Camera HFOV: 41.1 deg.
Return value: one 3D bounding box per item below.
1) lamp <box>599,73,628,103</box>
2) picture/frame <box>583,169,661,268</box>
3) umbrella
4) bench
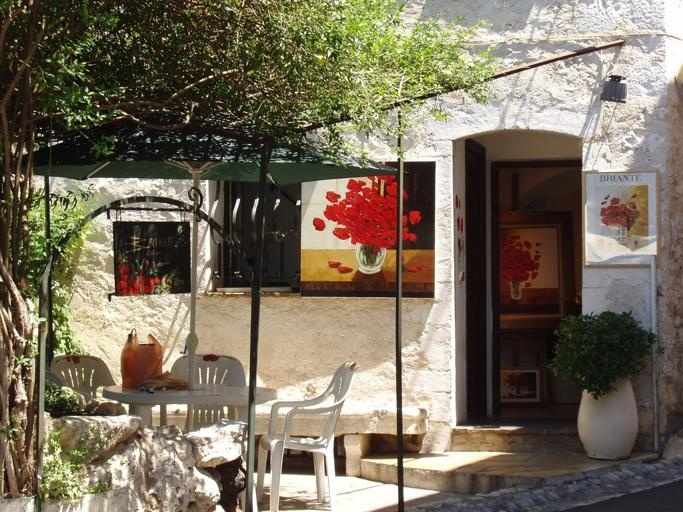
[{"bbox_3d":[2.439,-1.466,8.210,0.323,0.314,0.233,4,5,16],"label":"lamp"},{"bbox_3d":[2.607,-0.336,8.335,0.940,1.185,0.057,0,-4,7],"label":"picture/frame"},{"bbox_3d":[-0.884,0.455,6.898,3.177,2.679,3.134,1,-6,-9],"label":"umbrella"},{"bbox_3d":[-0.466,1.691,8.587,0.912,0.311,1.339,-22,-8,22],"label":"bench"}]
